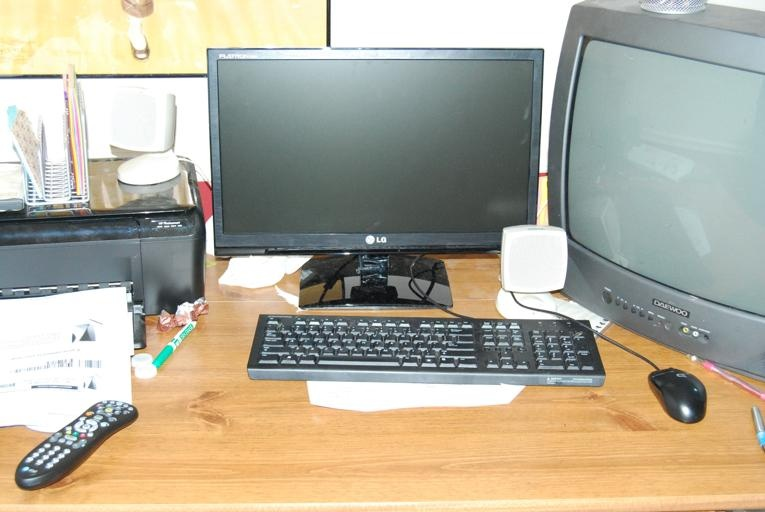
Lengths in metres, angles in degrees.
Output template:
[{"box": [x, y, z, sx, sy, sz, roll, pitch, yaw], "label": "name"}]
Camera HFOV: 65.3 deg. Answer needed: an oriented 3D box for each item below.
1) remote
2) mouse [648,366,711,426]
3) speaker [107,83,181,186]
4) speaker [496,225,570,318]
[{"box": [-0.503, 0.301, 0.990, 0.078, 0.032, 0.178, 21, 37, 26], "label": "remote"}, {"box": [0.534, 0.242, 1.096, 0.110, 0.071, 0.131, 6, 17, 12], "label": "mouse"}, {"box": [-0.530, -0.282, 1.392, 0.128, 0.231, 0.159, -11, 27, -36], "label": "speaker"}, {"box": [0.309, 0.034, 1.348, 0.166, 0.195, 0.141, 0, 24, -2], "label": "speaker"}]
